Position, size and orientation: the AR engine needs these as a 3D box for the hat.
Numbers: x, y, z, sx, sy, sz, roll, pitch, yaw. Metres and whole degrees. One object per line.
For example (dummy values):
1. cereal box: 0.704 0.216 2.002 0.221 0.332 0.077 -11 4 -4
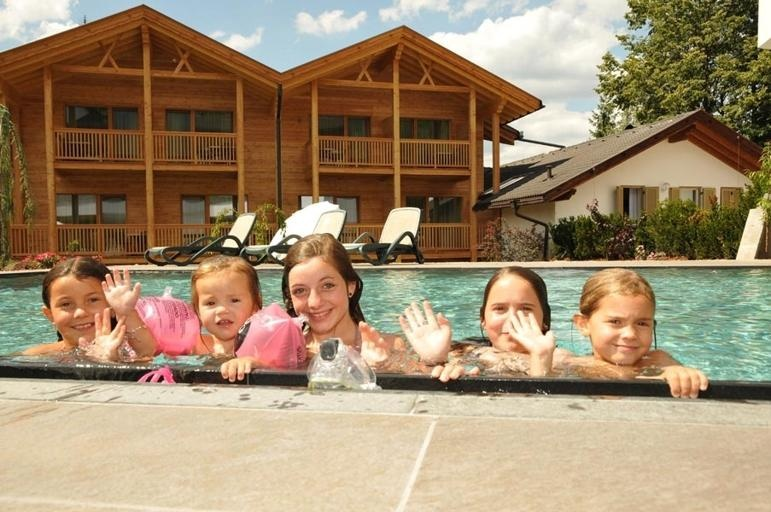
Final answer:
1. hat: -0.198 0.478 2.759 0.206 0.101 0.263 -4 -34 10

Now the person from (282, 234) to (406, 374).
1. person: -0.262 0.339 4.682 1.249 0.722 0.532 -6 0 25

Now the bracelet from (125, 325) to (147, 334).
1. bracelet: -1.515 0.447 3.852 0.145 0.036 0.034 -16 -4 0
